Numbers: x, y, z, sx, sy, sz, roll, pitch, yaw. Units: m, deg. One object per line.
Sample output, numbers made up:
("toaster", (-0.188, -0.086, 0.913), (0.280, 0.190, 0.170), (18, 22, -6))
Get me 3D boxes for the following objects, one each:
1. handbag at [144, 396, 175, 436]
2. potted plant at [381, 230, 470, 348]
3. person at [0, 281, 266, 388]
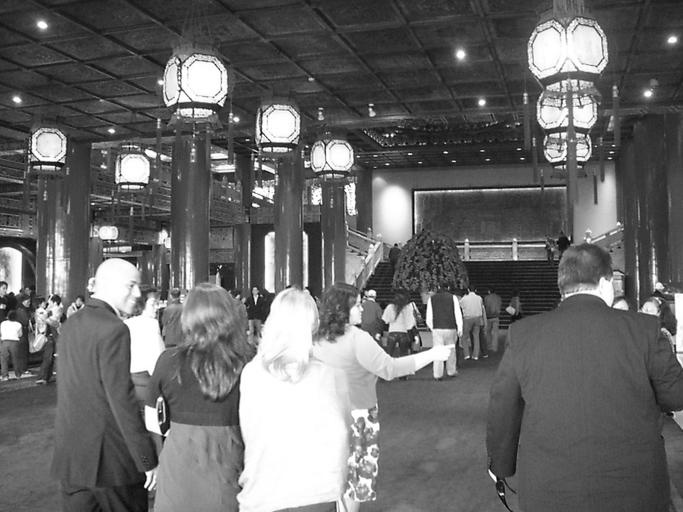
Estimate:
("handbag", (-0.988, 0.874, 3.889), (0.138, 0.211, 0.201), (2, 0, -23))
("potted plant", (1.657, 0.346, 12.363), (1.396, 1.609, 1.433), (2, 3, 36))
("person", (-2.368, 0.772, 6.948), (1.775, 0.473, 1.046), (-8, -20, 9))
